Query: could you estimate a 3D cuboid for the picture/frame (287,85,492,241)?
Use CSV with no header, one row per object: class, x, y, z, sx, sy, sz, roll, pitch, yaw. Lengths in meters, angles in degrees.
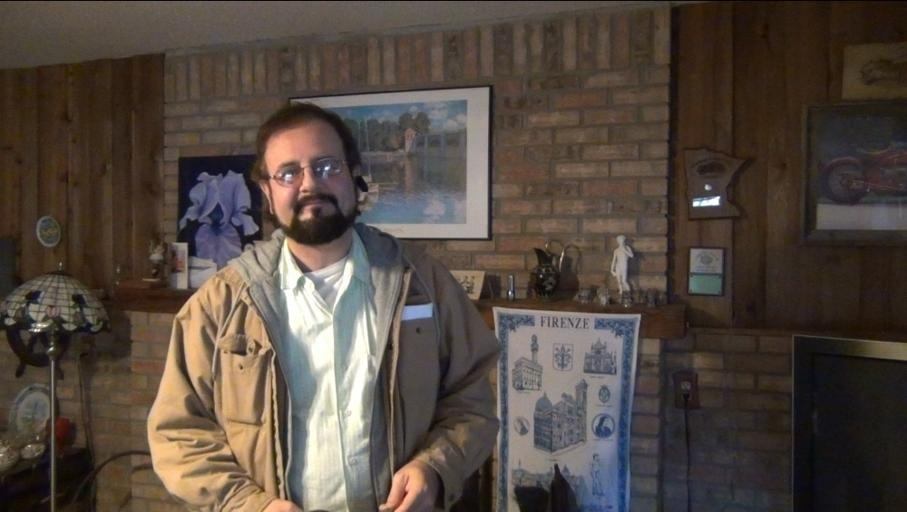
picture/frame,-0.378,-0.647,5.604,1.427,0.912,0.025,-1,-1,12
